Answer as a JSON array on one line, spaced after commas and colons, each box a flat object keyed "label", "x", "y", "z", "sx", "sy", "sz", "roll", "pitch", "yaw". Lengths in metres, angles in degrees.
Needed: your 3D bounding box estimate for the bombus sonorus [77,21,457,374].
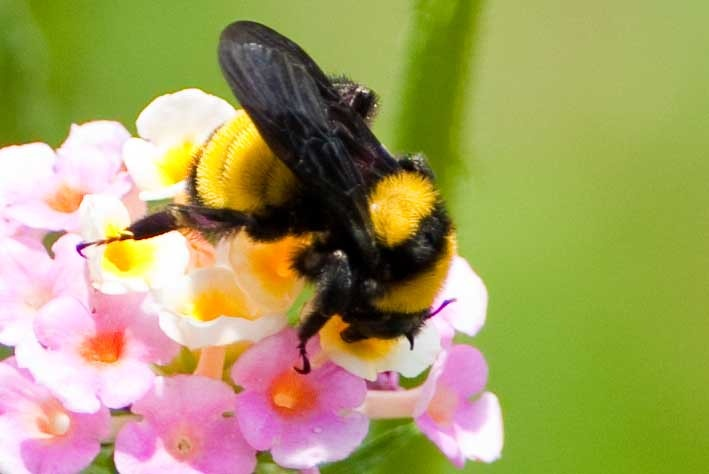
[{"label": "bombus sonorus", "x": -0.113, "y": -0.062, "z": 0.873, "sx": 0.406, "sy": 0.133, "sz": 0.299, "roll": 54, "pitch": 12, "yaw": 9}]
